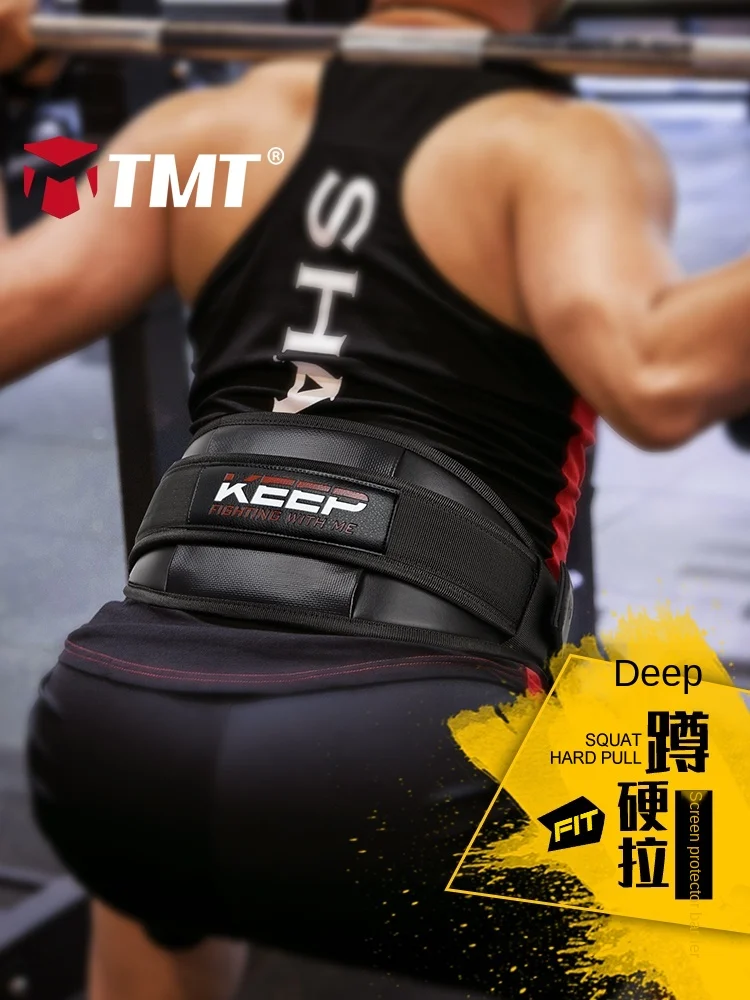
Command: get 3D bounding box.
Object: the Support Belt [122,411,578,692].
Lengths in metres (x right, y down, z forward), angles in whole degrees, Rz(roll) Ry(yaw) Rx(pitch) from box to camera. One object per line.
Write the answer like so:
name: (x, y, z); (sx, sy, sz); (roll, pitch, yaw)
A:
Support Belt: (-0.034, 0.062, 0.777); (0.308, 0.331, 0.139); (1, 66, 22)
